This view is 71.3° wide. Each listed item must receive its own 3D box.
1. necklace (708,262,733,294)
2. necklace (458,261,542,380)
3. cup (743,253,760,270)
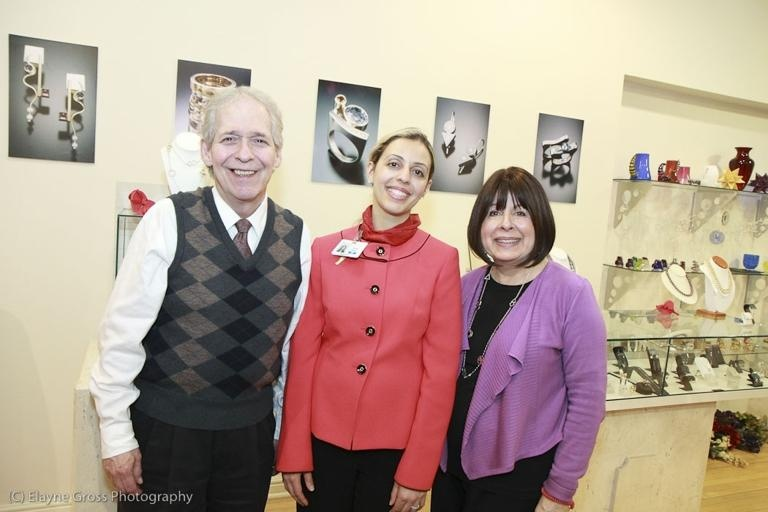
[{"bbox_3d":[2.848,0.192,4.564,0.217,0.253,0.144,-1,-26,-24],"label":"necklace"},{"bbox_3d":[0.597,0.325,2.900,0.212,0.755,0.063,5,-25,42],"label":"necklace"},{"bbox_3d":[3.482,0.064,5.074,0.152,0.155,0.177,3,-7,11],"label":"cup"}]
